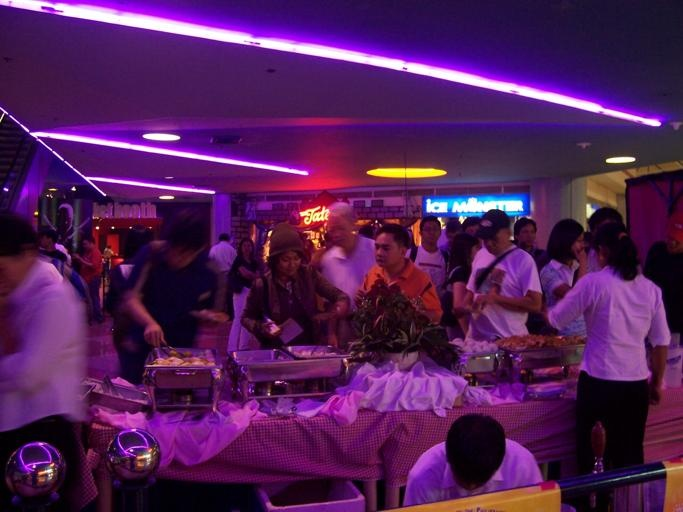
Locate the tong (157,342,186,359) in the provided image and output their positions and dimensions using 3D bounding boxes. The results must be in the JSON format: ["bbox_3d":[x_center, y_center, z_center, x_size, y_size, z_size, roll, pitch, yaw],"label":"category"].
[{"bbox_3d":[-0.966,0.541,3.242,0.101,0.028,0.107,15,8,-28],"label":"tong"}]

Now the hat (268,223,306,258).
[{"bbox_3d":[-0.366,-0.118,3.717,0.259,0.198,0.214,-11,-4,20],"label":"hat"}]

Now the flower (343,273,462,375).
[{"bbox_3d":[0.355,0.395,3.441,0.506,0.351,0.520,-2,-2,36],"label":"flower"}]

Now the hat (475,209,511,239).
[{"bbox_3d":[1.009,-0.223,3.900,0.216,0.130,0.157,-28,20,-18],"label":"hat"}]
